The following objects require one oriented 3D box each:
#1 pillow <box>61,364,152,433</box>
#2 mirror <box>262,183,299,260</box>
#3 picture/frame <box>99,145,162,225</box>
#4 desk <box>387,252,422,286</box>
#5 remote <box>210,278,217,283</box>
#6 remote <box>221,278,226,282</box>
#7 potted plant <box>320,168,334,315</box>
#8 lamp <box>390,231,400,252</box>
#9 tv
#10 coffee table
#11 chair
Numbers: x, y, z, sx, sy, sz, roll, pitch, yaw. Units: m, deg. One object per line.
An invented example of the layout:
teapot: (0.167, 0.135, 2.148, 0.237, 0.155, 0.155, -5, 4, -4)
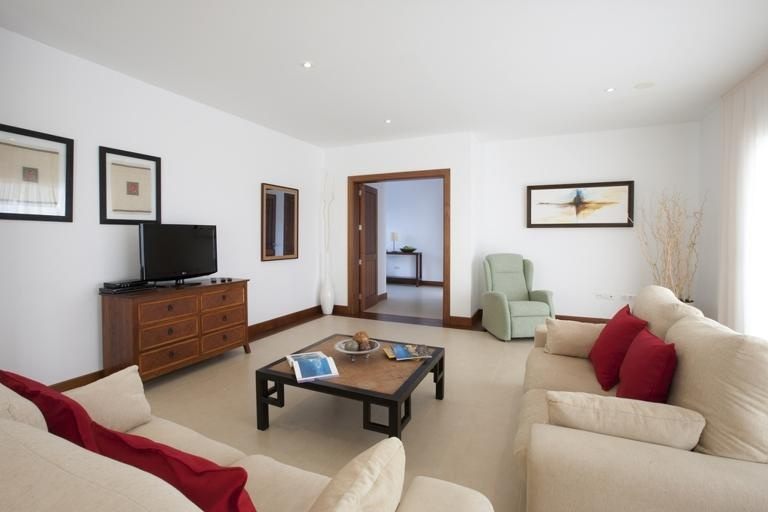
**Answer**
pillow: (-2.028, 1.054, 3.746, 0.544, 0.413, 0.197, -9, -34, -37)
mirror: (-1.494, -0.494, 7.245, 0.059, 1.489, 1.038, 3, 4, 25)
picture/frame: (-2.714, -0.749, 5.407, 0.045, 1.041, 0.832, 4, 4, 32)
desk: (0.416, 0.312, 12.148, 0.848, 0.752, 0.335, 1, 7, 14)
remote: (-1.970, 0.289, 5.915, 0.072, 0.072, 0.054, 2, 5, 16)
remote: (-1.866, 0.288, 5.945, 0.063, 0.063, 0.043, -1, 8, -17)
potted plant: (-0.913, -0.212, 8.156, 0.245, 2.266, 0.390, -1, 4, -8)
lamp: (0.291, -0.349, 12.089, 0.191, 0.442, 0.327, -1, 4, -10)
tv: (-2.246, -0.004, 5.490, 0.088, 0.498, 0.687, 0, 1, 30)
coffee table: (-0.071, 1.063, 4.567, 0.982, 0.411, 1.007, 2, 3, 27)
chair: (2.044, 0.556, 7.034, 0.911, 1.306, 1.131, 0, -5, -5)
